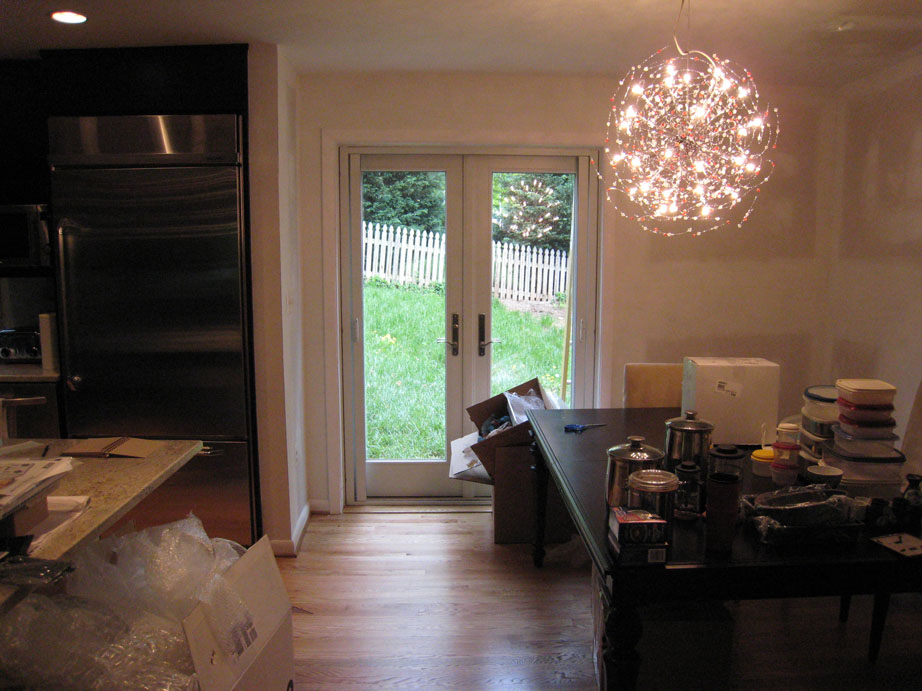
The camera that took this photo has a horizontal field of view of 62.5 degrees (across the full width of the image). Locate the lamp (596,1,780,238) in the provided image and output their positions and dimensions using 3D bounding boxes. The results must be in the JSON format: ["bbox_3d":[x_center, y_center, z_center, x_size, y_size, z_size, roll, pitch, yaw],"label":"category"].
[{"bbox_3d":[1.167,-1.226,4.008,0.755,1.492,0.734,23,-20,-35],"label":"lamp"}]

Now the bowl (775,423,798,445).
[{"bbox_3d":[1.247,0.336,2.919,0.078,0.073,0.077,-1,5,0],"label":"bowl"}]

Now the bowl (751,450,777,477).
[{"bbox_3d":[1.172,0.455,2.942,0.090,0.074,0.094,-1,1,0],"label":"bowl"}]

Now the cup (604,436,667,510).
[{"bbox_3d":[0.630,0.434,2.710,0.233,0.318,0.234,2,-1,0],"label":"cup"}]

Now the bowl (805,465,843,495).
[{"bbox_3d":[1.318,0.485,2.732,0.097,0.061,0.096,0,-4,0],"label":"bowl"}]

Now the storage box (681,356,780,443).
[{"bbox_3d":[1.204,0.239,3.362,0.482,0.328,0.472,-2,6,-27],"label":"storage box"}]

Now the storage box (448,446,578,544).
[{"bbox_3d":[0.315,0.879,4.380,0.530,0.684,0.972,-1,-1,-1],"label":"storage box"}]

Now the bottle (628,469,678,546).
[{"bbox_3d":[0.626,0.537,2.530,0.175,0.186,0.170,4,0,-21],"label":"bottle"}]

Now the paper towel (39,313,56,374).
[{"bbox_3d":[-2.275,-0.016,4.192,0.064,0.303,0.070,-2,4,-9],"label":"paper towel"}]

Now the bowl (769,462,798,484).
[{"bbox_3d":[1.211,0.475,2.836,0.084,0.077,0.084,-1,7,0],"label":"bowl"}]

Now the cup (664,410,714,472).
[{"bbox_3d":[0.831,0.360,2.789,0.196,0.243,0.156,1,3,2],"label":"cup"}]

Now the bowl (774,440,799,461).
[{"bbox_3d":[1.240,0.391,2.880,0.078,0.057,0.078,2,1,0],"label":"bowl"}]
